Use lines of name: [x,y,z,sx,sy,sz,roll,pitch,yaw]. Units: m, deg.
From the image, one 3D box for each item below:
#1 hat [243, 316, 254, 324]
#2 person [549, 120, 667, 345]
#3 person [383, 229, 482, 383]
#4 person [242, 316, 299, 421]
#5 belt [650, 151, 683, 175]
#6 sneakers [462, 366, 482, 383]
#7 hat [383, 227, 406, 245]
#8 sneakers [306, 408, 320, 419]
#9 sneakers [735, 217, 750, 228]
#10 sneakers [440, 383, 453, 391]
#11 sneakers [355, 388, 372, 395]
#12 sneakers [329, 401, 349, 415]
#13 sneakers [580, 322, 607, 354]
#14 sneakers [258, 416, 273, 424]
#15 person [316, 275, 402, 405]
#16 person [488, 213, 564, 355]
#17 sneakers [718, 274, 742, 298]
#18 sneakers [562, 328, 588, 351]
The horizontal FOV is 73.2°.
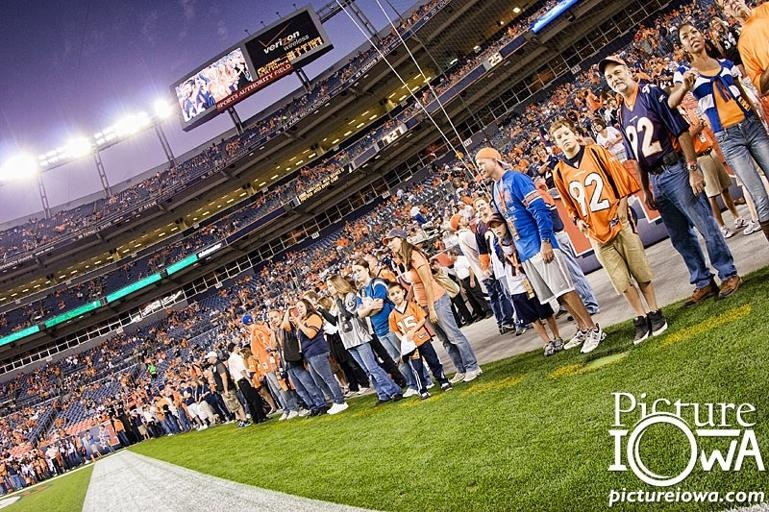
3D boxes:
hat: [-3.203,1.505,12.074,0.236,0.205,0.538,-24,-4,-17]
person: [2.778,-0.407,6.341,0.780,3.119,0.345,-25,-4,11]
person: [0.735,0.754,8.034,0.560,2.496,0.719,-24,-4,4]
person: [-2.910,2.772,12.426,0.862,2.663,0.801,-24,1,14]
belt: [3.456,-1.101,6.373,0.244,0.108,0.282,-12,-13,-24]
sneakers: [1.334,1.853,7.988,0.157,0.146,0.348,21,-37,-22]
hat: [0.153,-0.294,7.916,0.267,0.165,0.204,8,-11,-3]
sneakers: [-1.462,3.257,10.697,0.138,0.205,0.429,-3,-19,-4]
sneakers: [5.916,-0.536,8.566,0.303,0.143,0.120,-8,2,-38]
sneakers: [0.947,2.028,7.975,0.142,0.071,0.189,0,-9,3]
sneakers: [-0.453,2.919,11.055,0.140,0.164,0.394,-11,-18,33]
sneakers: [-0.917,3.015,10.017,0.380,0.159,0.234,-21,-14,5]
sneakers: [2.780,1.037,6.809,0.550,0.251,0.178,-44,11,-36]
sneakers: [-3.102,4.266,13.399,0.161,0.200,0.492,-1,-9,0]
person: [-0.470,1.512,9.341,0.960,2.773,0.829,-15,-42,-22]
person: [2.000,0.492,7.403,0.526,2.040,1.130,-29,22,10]
sneakers: [4.140,0.363,6.242,0.422,0.168,0.139,-29,-7,-42]
sneakers: [2.633,1.142,7.181,0.389,0.170,0.137,-44,15,20]
